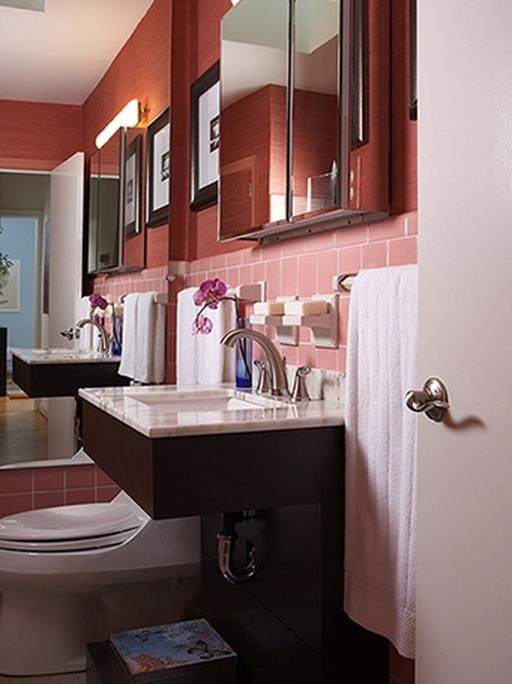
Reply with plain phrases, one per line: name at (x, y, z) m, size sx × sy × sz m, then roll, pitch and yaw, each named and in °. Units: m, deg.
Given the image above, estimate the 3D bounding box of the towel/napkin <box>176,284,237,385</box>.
towel/napkin at (-0.145, -0.018, 1.800) m, size 0.059 × 0.324 × 0.339 m, roll -1°, pitch 2°, yaw -18°

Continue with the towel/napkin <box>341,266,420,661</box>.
towel/napkin at (0.208, 0.188, 1.005) m, size 0.055 × 0.659 × 0.201 m, roll -2°, pitch 0°, yaw -19°

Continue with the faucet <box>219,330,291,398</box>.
faucet at (0.003, 0.048, 1.371) m, size 0.140 × 0.154 × 0.176 m, roll -2°, pitch 0°, yaw 5°

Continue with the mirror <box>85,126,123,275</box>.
mirror at (-0.613, -0.582, 2.371) m, size 0.058 × 0.806 × 0.572 m, roll 3°, pitch -1°, yaw -19°
